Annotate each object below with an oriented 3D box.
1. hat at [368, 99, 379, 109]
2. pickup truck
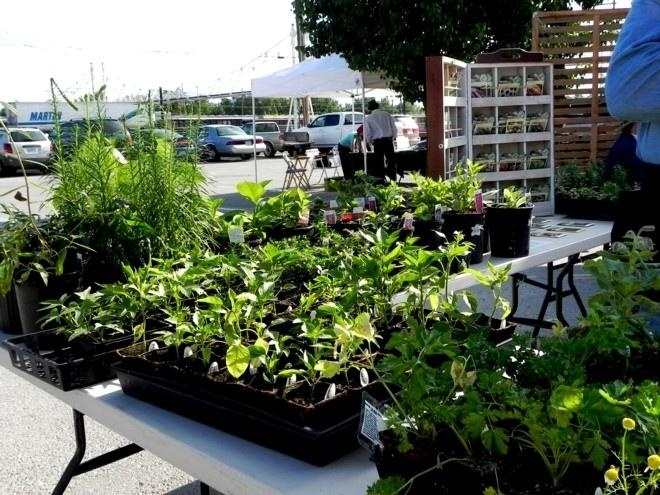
[{"bbox_3d":[0.901,-2.996,11.314,0.185,0.225,0.244,6,21,12],"label":"hat"},{"bbox_3d":[0.762,-4.094,17.855,3.858,1.356,1.791,6,15,20],"label":"pickup truck"}]
